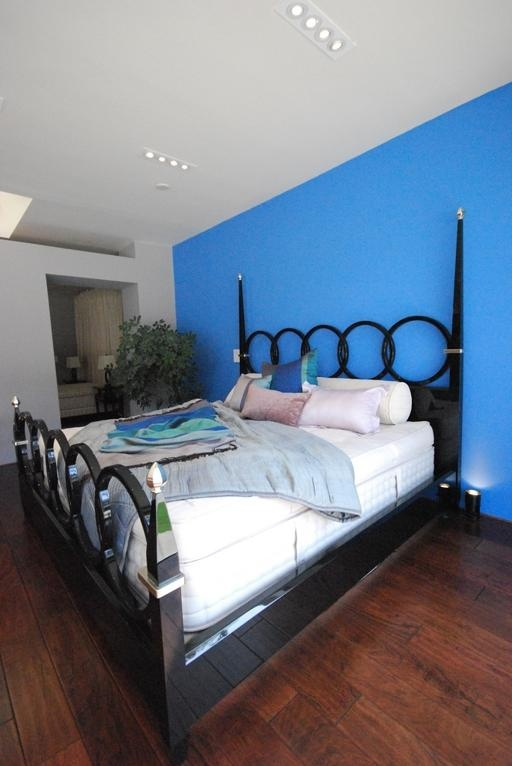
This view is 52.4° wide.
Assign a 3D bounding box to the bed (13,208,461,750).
[{"bbox_3d":[-0.278,-0.045,2.519,1.963,1.462,2.066,8,15,39],"label":"bed"}]

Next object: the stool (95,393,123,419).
[{"bbox_3d":[-1.715,0.267,6.008,0.178,0.263,0.252,-6,11,-31],"label":"stool"}]

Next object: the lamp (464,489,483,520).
[{"bbox_3d":[1.099,0.608,2.637,0.082,0.141,0.133,3,13,23],"label":"lamp"}]
